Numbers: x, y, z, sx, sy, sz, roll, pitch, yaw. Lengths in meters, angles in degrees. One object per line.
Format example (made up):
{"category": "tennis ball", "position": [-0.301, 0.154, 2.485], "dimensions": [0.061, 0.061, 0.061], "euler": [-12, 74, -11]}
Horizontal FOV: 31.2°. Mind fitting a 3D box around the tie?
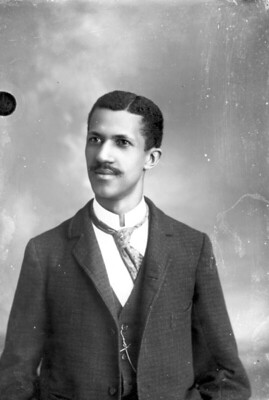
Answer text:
{"category": "tie", "position": [-0.029, 0.141, 1.392], "dimensions": [0.108, 0.233, 0.035], "euler": [-9, -20, -11]}
